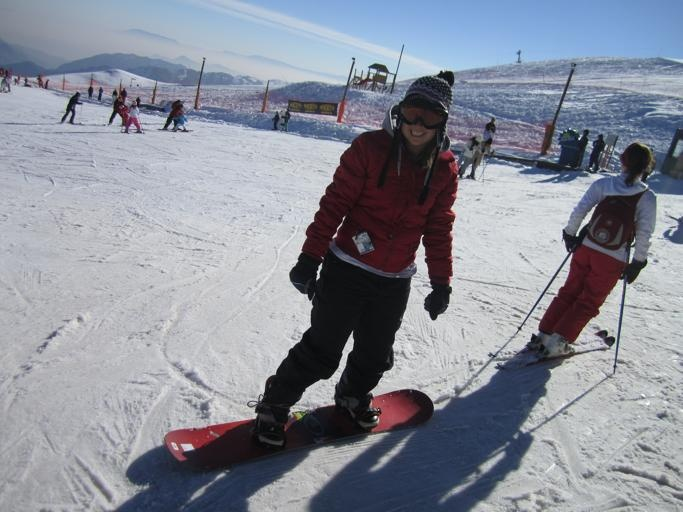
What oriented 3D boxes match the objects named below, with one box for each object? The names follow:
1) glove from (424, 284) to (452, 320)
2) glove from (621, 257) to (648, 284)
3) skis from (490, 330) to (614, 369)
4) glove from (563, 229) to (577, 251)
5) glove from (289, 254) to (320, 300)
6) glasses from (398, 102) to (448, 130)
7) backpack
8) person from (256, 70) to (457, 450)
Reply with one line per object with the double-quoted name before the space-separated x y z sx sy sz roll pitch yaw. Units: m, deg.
"glove" 0.635 0.288 2.907 0.154 0.231 0.103 18 -10 30
"glove" 2.510 0.120 3.874 0.121 0.237 0.368 21 17 33
"skis" 1.929 0.876 4.156 1.192 0.082 0.182 -10 32 -27
"glove" 2.028 -0.119 4.020 0.126 0.194 0.078 11 38 13
"glove" -0.214 0.119 2.659 0.167 0.294 0.198 11 14 -2
"glasses" 0.486 -0.792 2.609 0.306 0.127 0.103 7 15 -12
"backpack" 2.307 -0.285 3.731 0.290 0.452 0.356 9 19 -33
"person" 0.172 0.058 2.765 1.097 2.320 0.357 6 16 -21
